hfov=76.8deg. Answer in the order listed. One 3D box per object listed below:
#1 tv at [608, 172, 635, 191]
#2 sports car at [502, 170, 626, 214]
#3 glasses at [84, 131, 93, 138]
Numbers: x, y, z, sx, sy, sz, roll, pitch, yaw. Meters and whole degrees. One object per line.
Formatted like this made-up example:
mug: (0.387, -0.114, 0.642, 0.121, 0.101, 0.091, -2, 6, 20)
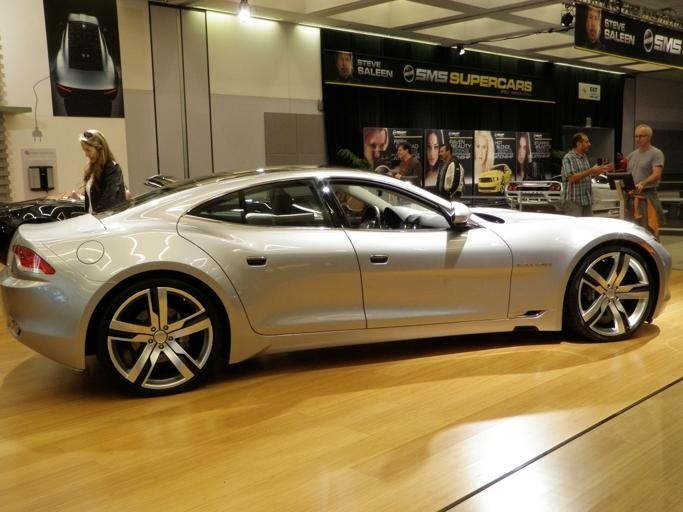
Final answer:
tv: (4.343, -1.159, 6.701, 0.116, 0.208, 0.276, -38, 30, -32)
sports car: (6.728, -1.712, 12.309, 3.235, 0.982, 2.020, -1, 6, -21)
glasses: (-2.751, -1.317, 4.693, 0.076, 0.036, 0.108, -14, 28, -12)
